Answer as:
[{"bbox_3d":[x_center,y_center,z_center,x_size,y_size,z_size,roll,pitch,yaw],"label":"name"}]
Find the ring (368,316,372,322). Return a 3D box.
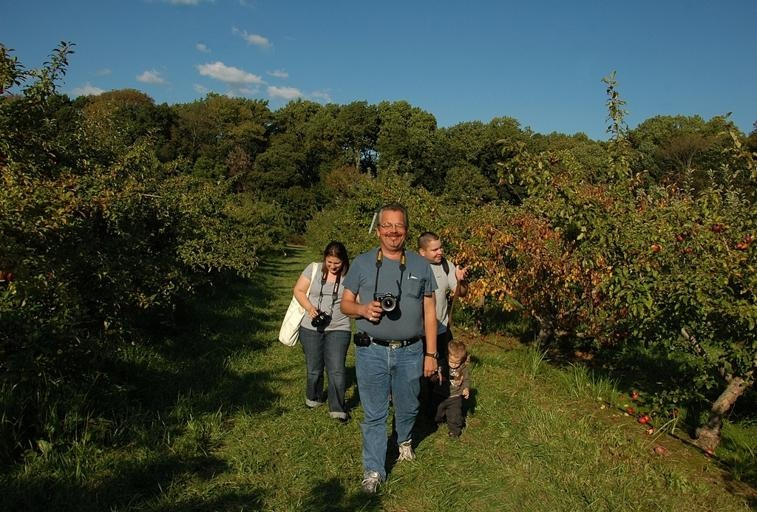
[{"bbox_3d":[-0.100,0.761,6.629,0.051,0.029,0.073,9,-16,29],"label":"ring"}]

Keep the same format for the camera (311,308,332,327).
[{"bbox_3d":[-0.854,0.902,7.970,0.204,0.250,0.276,-4,18,-27],"label":"camera"}]

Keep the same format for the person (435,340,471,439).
[{"bbox_3d":[1.067,1.880,7.969,0.449,1.394,0.324,3,11,7],"label":"person"}]

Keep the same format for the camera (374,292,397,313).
[{"bbox_3d":[0.078,0.547,6.559,0.262,0.264,0.195,1,-2,-5],"label":"camera"}]

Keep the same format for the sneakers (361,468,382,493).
[{"bbox_3d":[-0.101,2.724,6.648,0.166,0.196,0.298,5,-28,4],"label":"sneakers"}]

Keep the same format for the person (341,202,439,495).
[{"bbox_3d":[0.143,1.062,6.872,1.057,3.400,0.788,-5,13,-30],"label":"person"}]

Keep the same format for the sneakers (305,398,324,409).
[{"bbox_3d":[-1.032,2.274,8.536,0.198,0.099,0.148,0,2,-21],"label":"sneakers"}]
